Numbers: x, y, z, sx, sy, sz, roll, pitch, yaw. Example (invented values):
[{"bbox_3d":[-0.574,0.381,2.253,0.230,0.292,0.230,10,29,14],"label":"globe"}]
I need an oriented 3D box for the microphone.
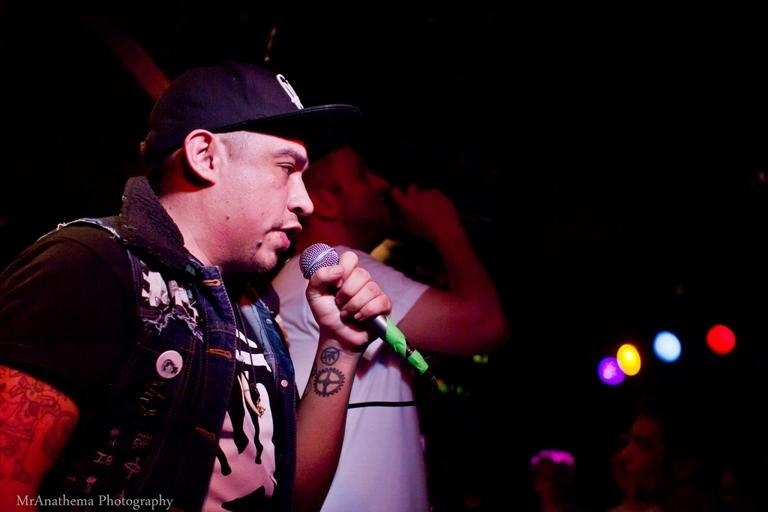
[{"bbox_3d":[-0.138,0.353,3.981,1.069,0.284,0.273,44,13,6],"label":"microphone"}]

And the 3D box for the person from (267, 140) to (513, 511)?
[{"bbox_3d":[-0.007,0.429,4.313,1.150,3.544,1.289,-3,-28,3],"label":"person"}]
